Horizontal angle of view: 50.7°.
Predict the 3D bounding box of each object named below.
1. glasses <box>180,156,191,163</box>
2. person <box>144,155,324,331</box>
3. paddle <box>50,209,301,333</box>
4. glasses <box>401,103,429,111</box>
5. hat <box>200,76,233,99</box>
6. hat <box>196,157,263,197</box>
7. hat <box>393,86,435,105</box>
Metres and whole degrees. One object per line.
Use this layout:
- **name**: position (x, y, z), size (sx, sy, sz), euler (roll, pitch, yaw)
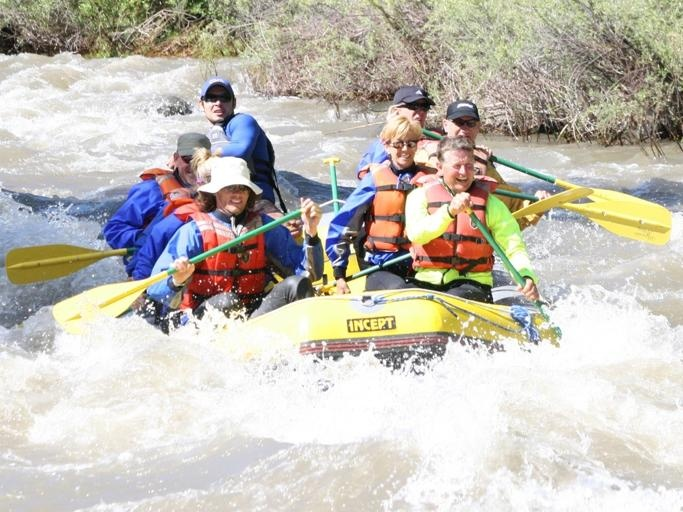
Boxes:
- **glasses**: position (-1.218, -0.761, 5.651), size (0.048, 0.035, 0.049), euler (8, 13, 44)
- **person**: position (-0.840, -0.565, 6.057), size (0.631, 1.846, 0.715), euler (-20, -3, 21)
- **paddle**: position (-1.139, 0.126, 5.157), size (1.872, 0.076, 0.339), euler (-25, 55, -2)
- **glasses**: position (0.617, -1.236, 5.939), size (0.100, 0.029, 0.106), euler (2, -3, -29)
- **hat**: position (-1.056, -1.463, 6.076), size (0.325, 0.237, 0.520), euler (0, 17, -6)
- **hat**: position (-0.815, -0.558, 5.073), size (0.386, 0.207, 0.379), euler (2, -10, -12)
- **hat**: position (0.554, -1.328, 6.010), size (0.192, 0.129, 0.261), euler (1, 5, -33)
